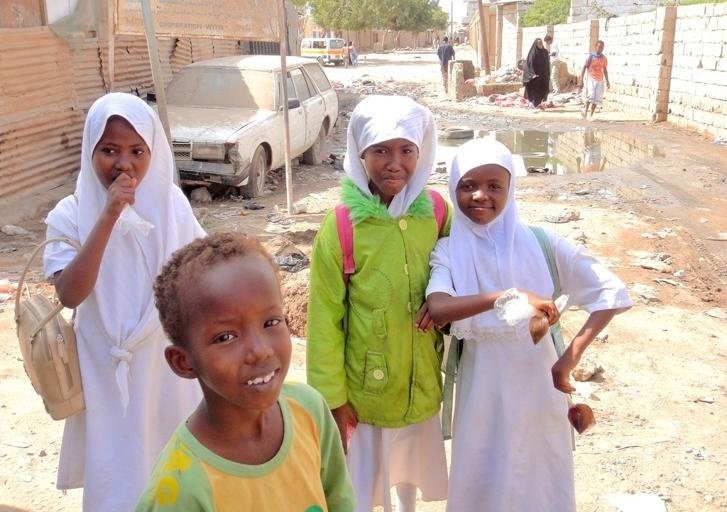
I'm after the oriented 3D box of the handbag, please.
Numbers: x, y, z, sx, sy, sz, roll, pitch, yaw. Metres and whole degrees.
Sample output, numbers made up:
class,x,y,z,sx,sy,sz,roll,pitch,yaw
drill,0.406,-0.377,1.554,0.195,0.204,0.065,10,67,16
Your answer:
class,x,y,z,sx,sy,sz,roll,pitch,yaw
handbag,-1.384,0.433,2.666,0.221,0.509,0.336,-12,20,-30

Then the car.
class,x,y,z,sx,sy,sz,roll,pitch,yaw
car,-1.718,-2.027,9.368,1.999,1.347,3.269,4,19,14

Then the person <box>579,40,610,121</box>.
class,x,y,z,sx,sy,sz,roll,pitch,yaw
person,6.404,-4.870,16.665,0.702,2.041,1.589,4,18,19

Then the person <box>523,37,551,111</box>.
class,x,y,z,sx,sy,sz,roll,pitch,yaw
person,5.263,-5.564,18.321,0.782,1.995,0.641,1,17,8
